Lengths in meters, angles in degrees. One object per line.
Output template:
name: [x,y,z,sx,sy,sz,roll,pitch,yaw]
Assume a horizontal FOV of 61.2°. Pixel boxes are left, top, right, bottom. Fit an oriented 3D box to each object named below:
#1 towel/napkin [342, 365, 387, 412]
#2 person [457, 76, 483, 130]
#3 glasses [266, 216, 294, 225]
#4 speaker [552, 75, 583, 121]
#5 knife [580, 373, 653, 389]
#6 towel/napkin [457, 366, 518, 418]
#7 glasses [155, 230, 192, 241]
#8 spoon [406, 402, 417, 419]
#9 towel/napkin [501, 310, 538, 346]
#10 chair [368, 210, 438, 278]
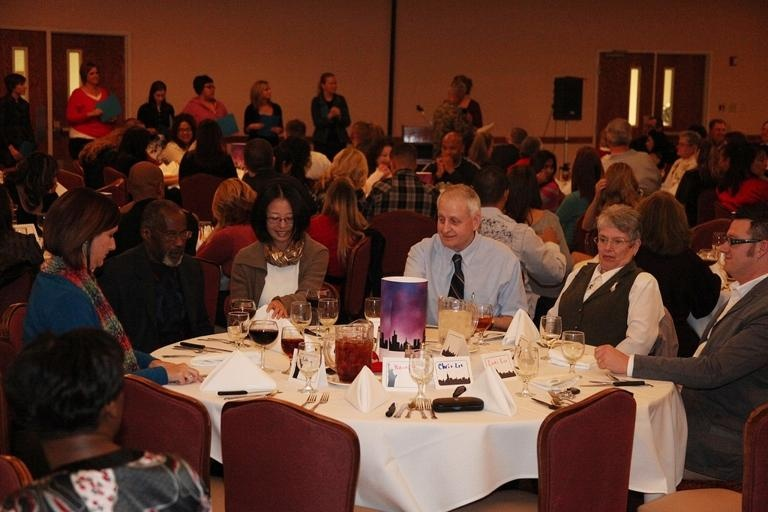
towel/napkin: [-0.079,0.461,2.412,0.111,0.131,0.118,27,35,-18]
person: [1.381,-2.282,10.373,0.314,0.332,1.009,0,-27,24]
glasses: [-0.595,-0.206,3.711,0.141,0.043,0.041,1,8,-9]
speaker: [3.184,-2.712,11.273,0.468,0.713,0.310,3,8,9]
knife: [0.961,0.515,2.687,0.281,0.032,0.090,-1,10,4]
towel/napkin: [0.406,0.511,2.446,0.133,0.174,0.064,-38,-21,8]
glasses: [-1.088,-0.110,3.431,0.084,0.055,0.203,5,8,18]
spoon: [0.089,0.557,2.358,0.017,0.011,0.074,5,18,10]
towel/napkin: [0.632,0.341,3.091,0.087,0.145,0.129,-13,9,-6]
chair: [0.172,-0.142,5.260,0.431,0.639,0.502,3,17,-3]
